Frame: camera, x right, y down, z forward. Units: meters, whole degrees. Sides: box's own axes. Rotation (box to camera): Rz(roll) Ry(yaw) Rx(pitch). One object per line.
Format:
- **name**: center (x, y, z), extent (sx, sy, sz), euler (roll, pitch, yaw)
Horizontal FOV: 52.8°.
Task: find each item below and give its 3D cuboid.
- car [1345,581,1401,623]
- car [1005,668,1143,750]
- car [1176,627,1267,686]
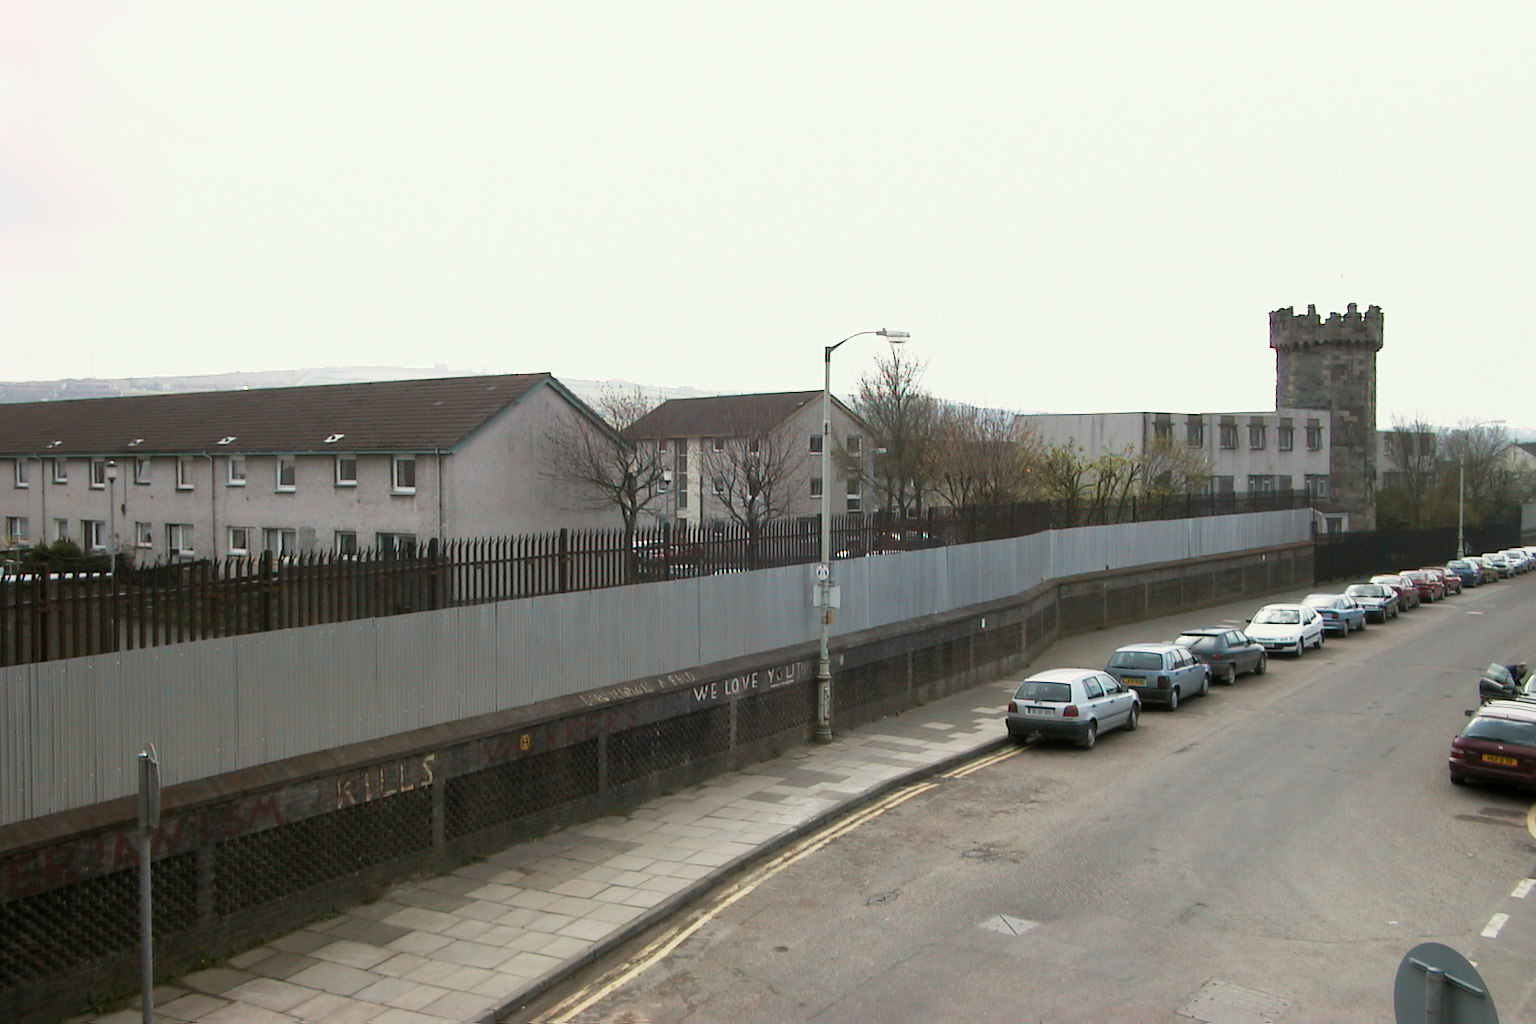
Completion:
- **car**: center (22.693, 3.281, 57.427), extent (1.185, 0.898, 2.658), euler (-3, -6, 33)
- **car**: center (7.197, 4.650, 36.332), extent (3.287, 1.765, 1.618), euler (-11, 16, -41)
- **car**: center (13.039, 3.989, 44.220), extent (1.213, 1.226, 2.646), euler (-2, 6, 40)
